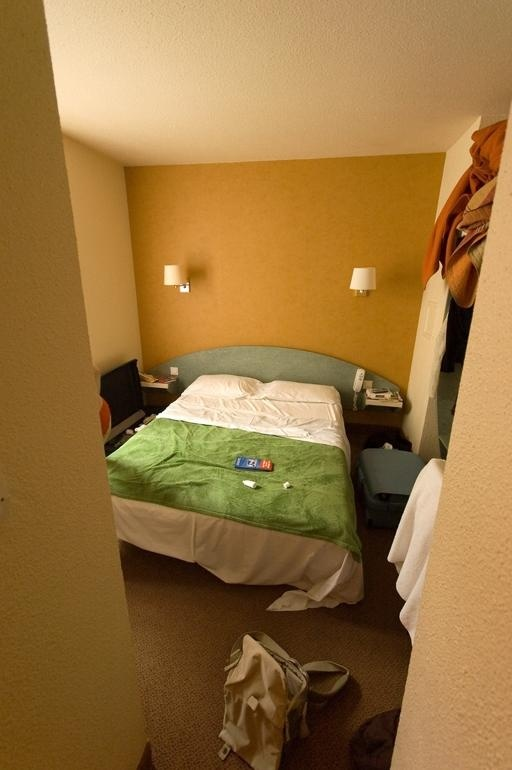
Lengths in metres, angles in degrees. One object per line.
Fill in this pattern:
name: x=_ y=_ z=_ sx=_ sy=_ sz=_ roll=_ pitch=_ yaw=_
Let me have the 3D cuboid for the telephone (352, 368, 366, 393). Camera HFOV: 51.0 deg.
telephone: x=0.765 y=-0.036 z=3.989 sx=0.087 sy=0.170 sz=0.047 roll=6 pitch=3 yaw=-35

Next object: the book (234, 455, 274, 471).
book: x=-0.012 y=0.403 z=2.743 sx=0.142 sy=0.027 sz=0.081 roll=3 pitch=16 yaw=4

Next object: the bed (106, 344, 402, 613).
bed: x=-0.002 y=0.373 z=3.301 sx=1.640 sy=0.648 sz=2.072 roll=8 pitch=17 yaw=5

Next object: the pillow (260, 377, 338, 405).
pillow: x=0.315 y=0.056 z=3.866 sx=0.342 sy=0.075 sz=0.244 roll=6 pitch=21 yaw=8

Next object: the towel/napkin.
towel/napkin: x=0.442 y=0.444 z=1.506 sx=0.148 sy=0.484 sz=0.278 roll=-1 pitch=17 yaw=13

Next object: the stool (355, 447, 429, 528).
stool: x=0.720 y=0.532 z=2.895 sx=0.322 sy=0.205 sz=0.409 roll=0 pitch=19 yaw=5

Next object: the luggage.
luggage: x=0.730 y=0.584 z=3.011 sx=0.333 sy=0.221 sz=0.463 roll=5 pitch=21 yaw=-7

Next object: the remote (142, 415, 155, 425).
remote: x=-0.809 y=0.249 z=4.058 sx=0.070 sy=0.033 sz=0.132 roll=-3 pitch=14 yaw=8

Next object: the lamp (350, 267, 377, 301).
lamp: x=0.706 y=-0.678 z=3.583 sx=0.183 sy=0.194 sz=0.196 roll=-5 pitch=19 yaw=-11

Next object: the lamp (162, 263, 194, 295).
lamp: x=-0.580 y=-0.795 z=4.008 sx=0.144 sy=0.192 sz=0.198 roll=1 pitch=9 yaw=8
